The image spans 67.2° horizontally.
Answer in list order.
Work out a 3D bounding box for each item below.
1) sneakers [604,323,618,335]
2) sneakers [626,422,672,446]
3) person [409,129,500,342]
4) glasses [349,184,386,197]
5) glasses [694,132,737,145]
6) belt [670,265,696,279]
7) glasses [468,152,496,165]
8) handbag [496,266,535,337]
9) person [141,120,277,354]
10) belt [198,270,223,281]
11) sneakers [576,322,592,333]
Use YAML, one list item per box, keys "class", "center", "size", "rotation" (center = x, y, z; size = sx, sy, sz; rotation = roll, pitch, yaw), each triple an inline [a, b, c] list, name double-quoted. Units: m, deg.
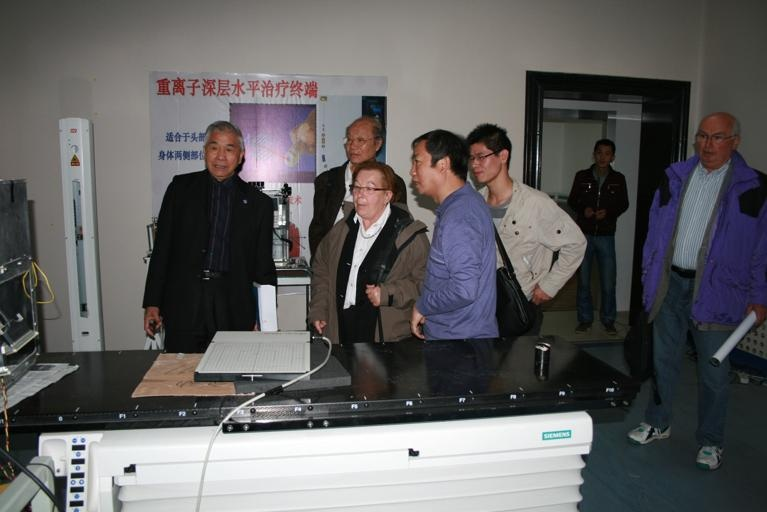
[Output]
- class: "sneakers"
  center: [2.370, 0.738, 5.995]
  size: [0.145, 0.102, 0.215]
  rotation: [2, 12, 11]
- class: "sneakers"
  center: [1.833, 1.230, 4.031]
  size: [0.329, 0.138, 0.119]
  rotation: [-2, 3, -11]
- class: "person"
  center: [0.401, -0.085, 3.186]
  size: [0.494, 1.196, 0.500]
  rotation: [0, 12, 3]
- class: "glasses"
  center: [-0.081, -0.401, 3.469]
  size: [0.225, 0.074, 0.084]
  rotation: [0, 12, 5]
- class: "glasses"
  center: [2.129, -0.755, 3.692]
  size: [0.222, 0.072, 0.112]
  rotation: [7, 14, 31]
- class: "belt"
  center: [1.968, 0.109, 3.784]
  size: [0.088, 0.031, 0.084]
  rotation: [19, -8, -24]
- class: "glasses"
  center: [0.642, -0.651, 3.822]
  size: [0.154, 0.045, 0.147]
  rotation: [-9, 5, -42]
- class: "handbag"
  center: [0.828, 0.299, 3.678]
  size: [0.184, 0.389, 0.391]
  rotation: [-17, -5, -8]
- class: "person"
  center: [-1.181, -0.067, 3.867]
  size: [0.880, 1.360, 0.771]
  rotation: [-7, 14, -28]
- class: "belt"
  center: [-1.138, 0.118, 3.784]
  size: [0.085, 0.041, 0.077]
  rotation: [6, 5, 32]
- class: "sneakers"
  center: [2.085, 0.758, 5.994]
  size: [0.072, 0.083, 0.212]
  rotation: [-6, -7, 42]
